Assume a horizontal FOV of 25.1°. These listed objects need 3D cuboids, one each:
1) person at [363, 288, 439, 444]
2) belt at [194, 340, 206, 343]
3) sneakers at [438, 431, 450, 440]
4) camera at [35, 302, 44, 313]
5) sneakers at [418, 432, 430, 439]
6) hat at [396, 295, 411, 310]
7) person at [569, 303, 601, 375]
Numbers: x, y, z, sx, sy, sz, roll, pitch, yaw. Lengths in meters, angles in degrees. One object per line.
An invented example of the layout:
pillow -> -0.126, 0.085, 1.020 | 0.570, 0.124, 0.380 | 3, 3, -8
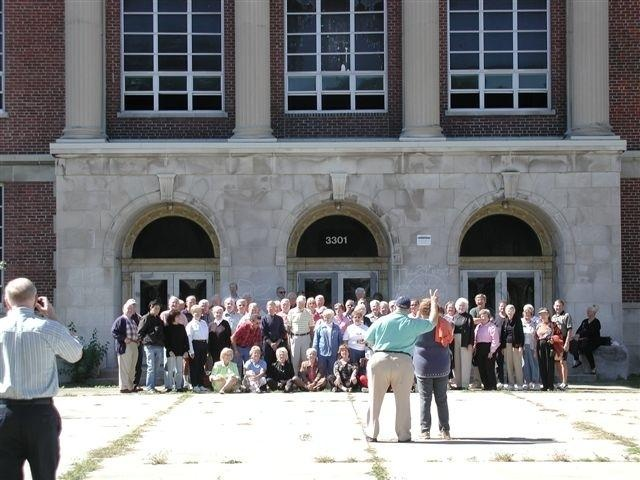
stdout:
person -> 1.549, 2.553, 28.651 | 1.364, 2.942, 0.532 | 1, -7, 2
belt -> -2.986, 2.476, 35.281 | 0.327, 0.070, 0.076 | 3, -7, -17
sneakers -> 2.502, 3.914, 28.781 | 0.170, 0.159, 0.293 | -2, -6, 5
camera -> -5.112, 1.212, 25.805 | 0.172, 0.228, 0.071 | 11, -18, -33
sneakers -> 2.089, 3.920, 28.741 | 0.187, 0.119, 0.112 | 4, -5, 3
hat -> 1.735, 1.249, 28.774 | 0.303, 0.225, 0.479 | 10, -9, 11
person -> 7.137, 2.671, 38.352 | 0.812, 1.779, 0.471 | -1, -7, 12
